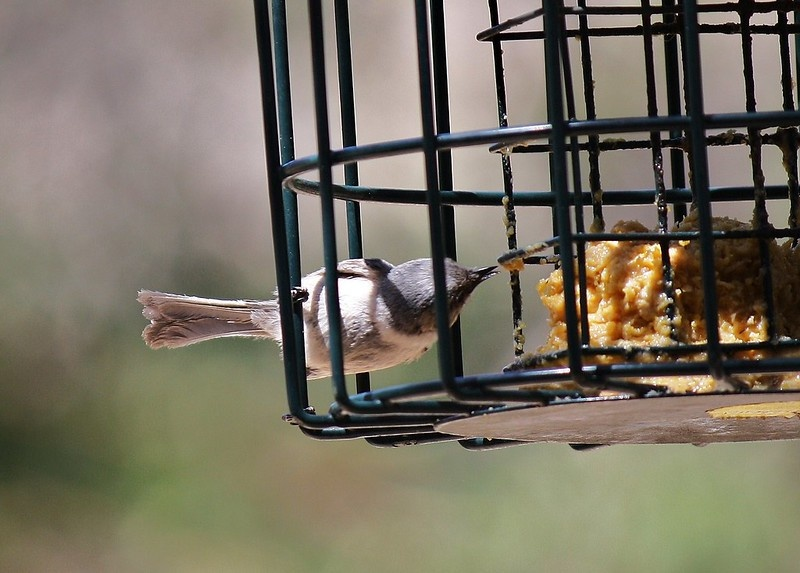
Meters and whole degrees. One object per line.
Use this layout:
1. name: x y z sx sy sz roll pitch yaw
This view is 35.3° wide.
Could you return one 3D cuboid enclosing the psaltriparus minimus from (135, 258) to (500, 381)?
1. psaltriparus minimus: -0.213 0.116 4.579 1.110 0.434 0.316 -1 -49 2
